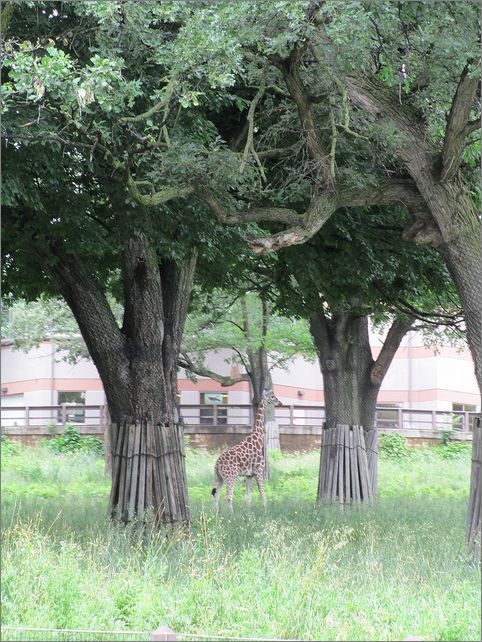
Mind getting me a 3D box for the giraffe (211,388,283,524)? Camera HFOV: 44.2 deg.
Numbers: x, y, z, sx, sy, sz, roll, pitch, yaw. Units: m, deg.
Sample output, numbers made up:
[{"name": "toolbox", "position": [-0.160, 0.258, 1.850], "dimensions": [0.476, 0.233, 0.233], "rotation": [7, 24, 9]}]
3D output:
[{"name": "giraffe", "position": [0.049, 2.276, 10.395], "dimensions": [0.828, 2.101, 1.577], "rotation": [-3, -3, 36]}]
